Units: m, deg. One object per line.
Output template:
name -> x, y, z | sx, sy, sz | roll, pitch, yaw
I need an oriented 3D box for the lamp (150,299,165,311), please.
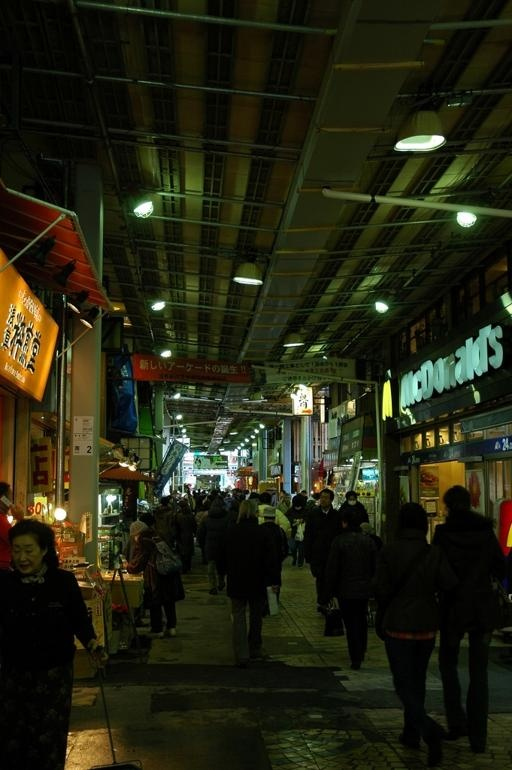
lamp -> -2.307, -1.912, 16.079 | 0.365, 0.186, 0.513 | 0, 4, 8

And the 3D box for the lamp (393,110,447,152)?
lamp -> 1.752, -2.632, 7.030 | 0.497, 0.367, 0.390 | -1, 1, 43

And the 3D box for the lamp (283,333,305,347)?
lamp -> 1.026, -1.364, 18.855 | 0.501, 0.380, 0.509 | 0, -13, -5

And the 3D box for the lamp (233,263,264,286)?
lamp -> -0.214, -1.928, 11.937 | 0.451, 0.433, 0.464 | -2, -7, 28

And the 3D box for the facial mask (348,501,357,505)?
facial mask -> 1.656, 2.030, 11.537 | 0.106, 0.067, 0.111 | -1, 0, 3
